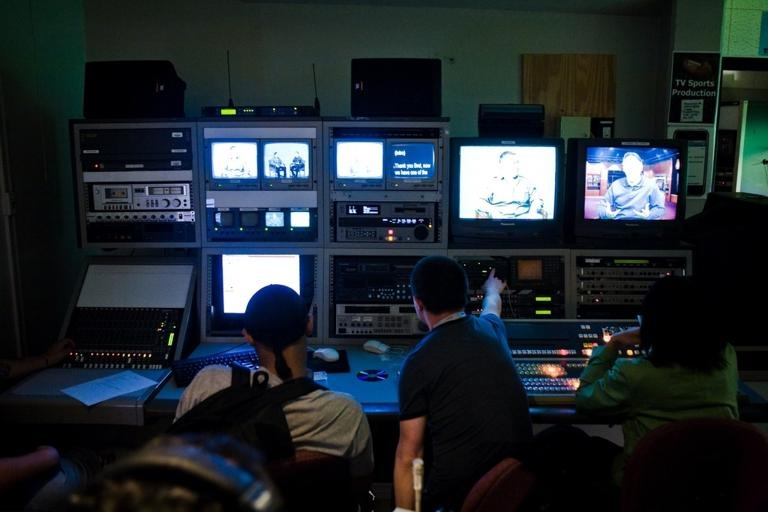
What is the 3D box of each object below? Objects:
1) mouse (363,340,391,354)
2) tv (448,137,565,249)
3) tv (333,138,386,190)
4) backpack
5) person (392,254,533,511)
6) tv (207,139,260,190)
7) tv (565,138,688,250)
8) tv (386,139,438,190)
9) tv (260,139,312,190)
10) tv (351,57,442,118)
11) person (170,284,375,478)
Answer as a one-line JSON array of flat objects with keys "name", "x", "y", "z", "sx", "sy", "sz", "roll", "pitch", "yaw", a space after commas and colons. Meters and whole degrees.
[{"name": "mouse", "x": -0.047, "y": 0.581, "z": 4.359, "sx": 0.137, "sy": 0.037, "sz": 0.079, "roll": 5, "pitch": 12, "yaw": 7}, {"name": "tv", "x": 0.791, "y": -0.442, "z": 4.466, "sx": 0.827, "sy": 0.678, "sz": 0.403, "roll": 0, "pitch": 1, "yaw": -2}, {"name": "tv", "x": -0.199, "y": -0.616, "z": 4.522, "sx": 0.411, "sy": 0.326, "sz": 0.190, "roll": 7, "pitch": 25, "yaw": 31}, {"name": "backpack", "x": -0.650, "y": 0.805, "z": 3.235, "sx": 0.538, "sy": 0.479, "sz": 0.365, "roll": 24, "pitch": -29, "yaw": -12}, {"name": "person", "x": 0.424, "y": 0.684, "z": 3.532, "sx": 0.697, "sy": 1.326, "sz": 0.552, "roll": 2, "pitch": 8, "yaw": 15}, {"name": "tv", "x": -1.021, "y": -0.615, "z": 4.497, "sx": 0.372, "sy": 0.314, "sz": 0.201, "roll": -6, "pitch": 13, "yaw": -35}, {"name": "tv", "x": 1.760, "y": -0.437, "z": 4.612, "sx": 0.765, "sy": 0.678, "sz": 0.421, "roll": 6, "pitch": 14, "yaw": 42}, {"name": "tv", "x": 0.152, "y": -0.613, "z": 4.493, "sx": 0.382, "sy": 0.314, "sz": 0.195, "roll": -4, "pitch": 11, "yaw": -21}, {"name": "tv", "x": -0.693, "y": -0.612, "z": 4.484, "sx": 0.417, "sy": 0.347, "sz": 0.217, "roll": -6, "pitch": 12, "yaw": -35}, {"name": "tv", "x": 0.162, "y": -1.130, "z": 4.573, "sx": 0.681, "sy": 0.381, "sz": 0.344, "roll": 8, "pitch": 17, "yaw": 28}, {"name": "person", "x": -0.559, "y": 0.599, "z": 3.382, "sx": 1.049, "sy": 0.804, "sz": 0.629, "roll": 8, "pitch": -5, "yaw": -14}]
